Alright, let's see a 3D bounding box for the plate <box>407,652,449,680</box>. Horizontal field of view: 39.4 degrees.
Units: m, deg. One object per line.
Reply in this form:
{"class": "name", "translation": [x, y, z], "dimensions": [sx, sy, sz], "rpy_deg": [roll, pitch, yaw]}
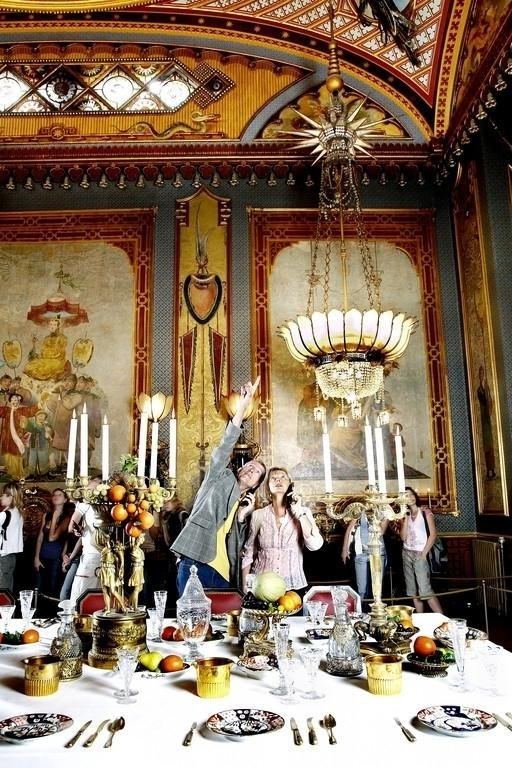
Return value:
{"class": "plate", "translation": [0.628, 1.020, 2.609], "dimensions": [0.102, 0.034, 0.098], "rpy_deg": [0, -5, -22]}

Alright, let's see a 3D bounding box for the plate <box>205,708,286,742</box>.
{"class": "plate", "translation": [-0.035, 0.980, 2.081], "dimensions": [0.218, 0.046, 0.208], "rpy_deg": [13, -19, -42]}

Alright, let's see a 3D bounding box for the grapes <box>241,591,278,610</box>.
{"class": "grapes", "translation": [0.013, 0.839, 2.777], "dimensions": [0.096, 0.059, 0.184], "rpy_deg": [11, -18, -36]}

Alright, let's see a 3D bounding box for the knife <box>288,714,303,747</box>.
{"class": "knife", "translation": [0.115, 0.981, 2.033], "dimensions": [0.034, 0.009, 0.120], "rpy_deg": [3, 1, -5]}

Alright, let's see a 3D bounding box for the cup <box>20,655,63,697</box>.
{"class": "cup", "translation": [-0.726, 0.977, 2.442], "dimensions": [0.122, 0.083, 0.118], "rpy_deg": [0, -1, 0]}

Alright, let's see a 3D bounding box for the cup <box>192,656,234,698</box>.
{"class": "cup", "translation": [-0.132, 0.966, 2.364], "dimensions": [0.109, 0.091, 0.130], "rpy_deg": [7, -22, -25]}

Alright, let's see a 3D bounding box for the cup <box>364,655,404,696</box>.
{"class": "cup", "translation": [0.430, 0.961, 2.354], "dimensions": [0.109, 0.083, 0.119], "rpy_deg": [0, -21, 0]}

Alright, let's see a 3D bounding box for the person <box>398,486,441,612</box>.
{"class": "person", "translation": [1.575, 1.557, 6.900], "dimensions": [0.347, 1.201, 0.605], "rpy_deg": [-4, -16, 13]}

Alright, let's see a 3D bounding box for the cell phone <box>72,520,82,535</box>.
{"class": "cell phone", "translation": [-1.728, 1.390, 6.980], "dimensions": [0.068, 0.068, 0.177], "rpy_deg": [7, -39, -11]}

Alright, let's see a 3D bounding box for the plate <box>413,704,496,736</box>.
{"class": "plate", "translation": [0.582, 0.973, 2.086], "dimensions": [0.220, 0.044, 0.245], "rpy_deg": [-14, -20, 43]}

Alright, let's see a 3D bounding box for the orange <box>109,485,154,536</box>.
{"class": "orange", "translation": [-0.495, 0.502, 2.827], "dimensions": [0.172, 0.195, 0.198], "rpy_deg": [3, -15, -11]}

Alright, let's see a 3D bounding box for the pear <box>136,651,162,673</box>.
{"class": "pear", "translation": [-0.394, 1.025, 2.704], "dimensions": [0.070, 0.065, 0.091], "rpy_deg": [24, -21, -10]}

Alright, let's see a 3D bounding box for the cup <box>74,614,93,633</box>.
{"class": "cup", "translation": [-0.738, 1.033, 3.108], "dimensions": [0.083, 0.054, 0.082], "rpy_deg": [2, -4, 0]}
